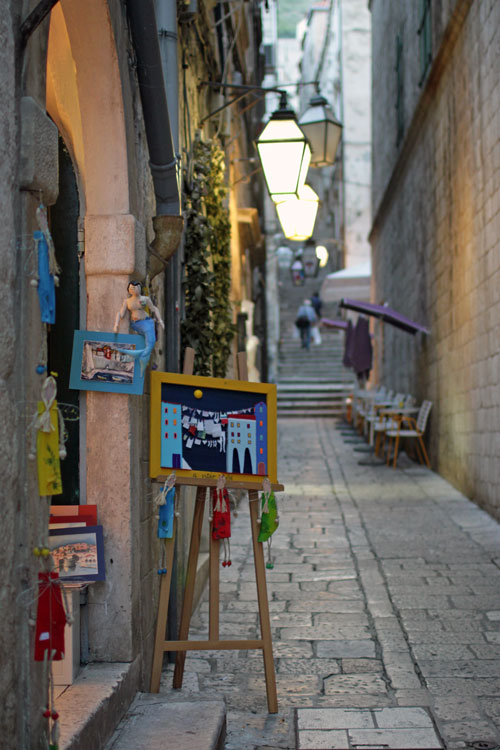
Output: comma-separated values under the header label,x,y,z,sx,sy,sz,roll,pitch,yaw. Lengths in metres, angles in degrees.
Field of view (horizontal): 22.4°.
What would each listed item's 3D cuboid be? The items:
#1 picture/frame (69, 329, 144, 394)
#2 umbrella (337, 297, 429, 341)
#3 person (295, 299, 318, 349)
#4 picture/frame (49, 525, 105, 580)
label,x,y,z,sx,sy,sz,roll,pitch,yaw
picture/frame,-0.584,-0.057,5.161,0.189,0.212,0.016,3,5,-21
umbrella,1.362,-0.606,12.774,0.617,0.241,0.524,28,-5,9
person,1.054,-0.974,24.102,0.358,0.906,0.997,-3,3,2
picture/frame,-0.687,0.701,5.010,0.200,0.313,0.029,-2,0,-1
